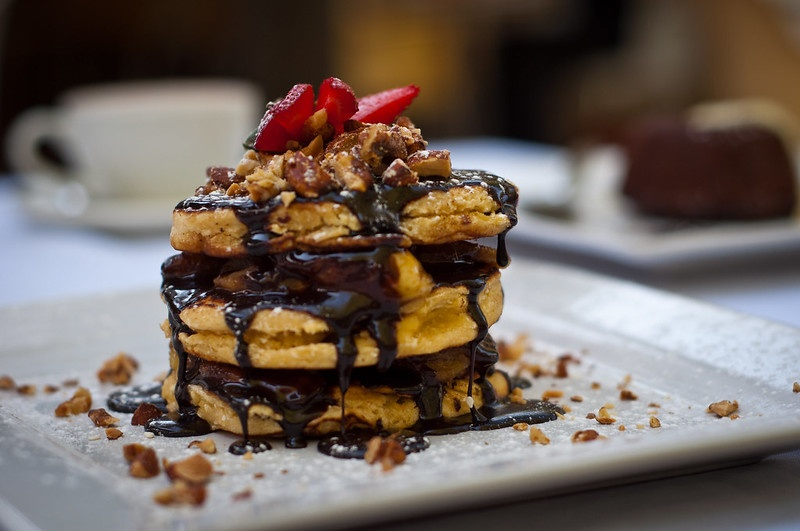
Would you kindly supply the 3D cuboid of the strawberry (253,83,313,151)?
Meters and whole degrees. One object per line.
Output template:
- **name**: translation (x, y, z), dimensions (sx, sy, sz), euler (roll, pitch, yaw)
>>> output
- **strawberry**: translation (-0.442, -0.561, 3.524), dimensions (0.094, 0.263, 0.214), euler (49, 14, 17)
